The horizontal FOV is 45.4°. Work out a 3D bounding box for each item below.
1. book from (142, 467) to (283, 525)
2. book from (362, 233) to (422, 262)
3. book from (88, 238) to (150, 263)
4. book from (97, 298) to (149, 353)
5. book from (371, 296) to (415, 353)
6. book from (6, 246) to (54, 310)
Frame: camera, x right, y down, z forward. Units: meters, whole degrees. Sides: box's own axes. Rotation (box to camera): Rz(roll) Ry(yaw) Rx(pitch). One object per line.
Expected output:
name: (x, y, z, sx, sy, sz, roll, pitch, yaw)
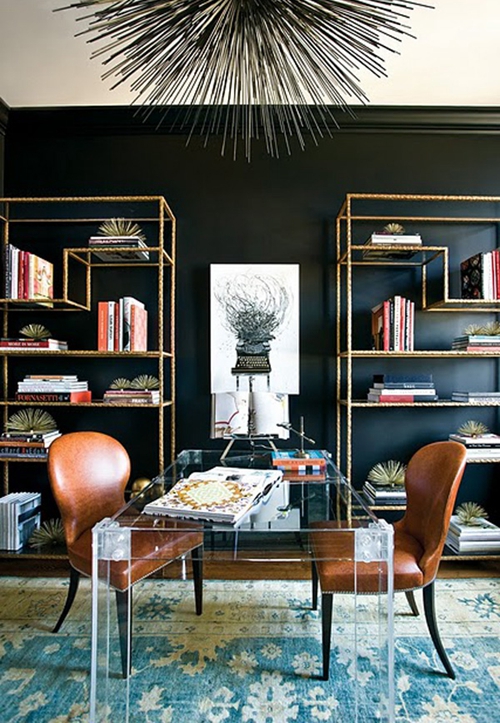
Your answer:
book: (-0.110, 0.446, 2.021, 0.357, 0.059, 0.567, 1, 7, 14)
book: (0.742, -0.599, 3.161, 0.276, 0.120, 0.362, 1, 6, 8)
book: (-0.683, -0.589, 3.163, 0.285, 0.111, 0.395, -1, 6, -8)
book: (-0.676, -0.190, 3.157, 0.248, 0.276, 0.273, -2, 6, -13)
book: (0.751, -0.194, 3.161, 0.212, 0.275, 0.331, 1, 6, 13)
book: (-1.166, -0.436, 3.154, 0.234, 0.320, 0.447, -2, 7, -19)
